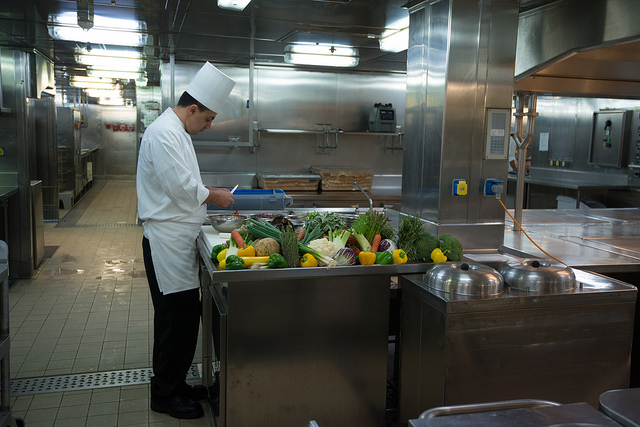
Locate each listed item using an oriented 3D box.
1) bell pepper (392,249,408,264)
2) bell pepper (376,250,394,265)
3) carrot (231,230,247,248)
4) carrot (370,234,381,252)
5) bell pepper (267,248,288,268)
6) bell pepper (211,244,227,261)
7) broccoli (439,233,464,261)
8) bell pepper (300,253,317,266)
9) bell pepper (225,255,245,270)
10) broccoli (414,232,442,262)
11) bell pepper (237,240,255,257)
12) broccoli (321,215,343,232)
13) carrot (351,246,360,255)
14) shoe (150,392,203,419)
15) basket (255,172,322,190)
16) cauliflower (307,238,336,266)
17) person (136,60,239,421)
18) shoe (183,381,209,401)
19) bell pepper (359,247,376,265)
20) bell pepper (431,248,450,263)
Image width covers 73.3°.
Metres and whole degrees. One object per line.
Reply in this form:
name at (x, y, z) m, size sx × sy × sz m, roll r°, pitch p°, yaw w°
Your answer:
bell pepper at (0.490, 0.262, 2.644) m, size 0.088 × 0.075 × 0.086 m, roll 4°, pitch 11°, yaw 10°
bell pepper at (0.396, 0.264, 2.609) m, size 0.112 × 0.070 × 0.053 m, roll -3°, pitch 12°, yaw -24°
carrot at (-0.518, 0.151, 2.771) m, size 0.051 × 0.047 × 0.203 m, roll -9°, pitch 36°, yaw -21°
carrot at (0.352, 0.180, 2.721) m, size 0.036 × 0.034 × 0.133 m, roll -12°, pitch 34°, yaw 52°
bell pepper at (-0.245, 0.268, 2.475) m, size 0.115 × 0.070 × 0.062 m, roll 1°, pitch 11°, yaw -8°
bell pepper at (-0.610, 0.235, 2.585) m, size 0.086 × 0.086 × 0.115 m, roll -1°, pitch 11°, yaw -14°
broccoli at (0.852, 0.216, 2.776) m, size 0.051 × 0.161 × 0.153 m, roll -46°, pitch 3°, yaw 43°
bell pepper at (-0.070, 0.271, 2.550) m, size 0.091 × 0.070 × 0.072 m, roll 19°, pitch -26°, yaw -24°
bell pepper at (-0.475, 0.271, 2.407) m, size 0.090 × 0.065 × 0.051 m, roll 18°, pitch 12°, yaw -37°
broccoli at (0.684, 0.209, 2.777) m, size 0.162 × 0.183 × 0.090 m, roll 10°, pitch -26°, yaw 10°
bell pepper at (-0.430, 0.199, 2.524) m, size 0.069 × 0.095 × 0.068 m, roll -8°, pitch 11°, yaw 37°
broccoli at (0.075, 0.067, 2.914) m, size 0.114 × 0.040 × 0.114 m, roll 1°, pitch 20°, yaw -32°
carrot at (0.223, 0.229, 2.707) m, size 0.037 × 0.033 × 0.051 m, roll -38°, pitch 16°, yaw -33°
shoe at (-1.009, 1.325, 3.041) m, size 0.355 × 0.160 × 0.151 m, roll 2°, pitch 4°, yaw 4°
basket at (-0.472, -0.515, 6.765) m, size 0.985 × 0.238 × 0.317 m, roll 1°, pitch 11°, yaw -8°
cauliflower at (0.021, 0.225, 2.600) m, size 0.142 × 0.066 × 0.152 m, roll 0°, pitch 18°, yaw -18°
person at (-0.908, 0.193, 2.952) m, size 0.585 × 2.428 × 0.504 m, roll -3°, pitch 13°, yaw -26°
shoe at (-0.954, 1.288, 3.146) m, size 0.290 × 0.117 × 0.093 m, roll 4°, pitch 18°, yaw -11°
bell pepper at (0.285, 0.265, 2.641) m, size 0.081 × 0.101 × 0.079 m, roll -5°, pitch -10°, yaw 34°
bell pepper at (0.768, 0.264, 2.755) m, size 0.096 × 0.080 × 0.078 m, roll -8°, pitch 15°, yaw -42°
